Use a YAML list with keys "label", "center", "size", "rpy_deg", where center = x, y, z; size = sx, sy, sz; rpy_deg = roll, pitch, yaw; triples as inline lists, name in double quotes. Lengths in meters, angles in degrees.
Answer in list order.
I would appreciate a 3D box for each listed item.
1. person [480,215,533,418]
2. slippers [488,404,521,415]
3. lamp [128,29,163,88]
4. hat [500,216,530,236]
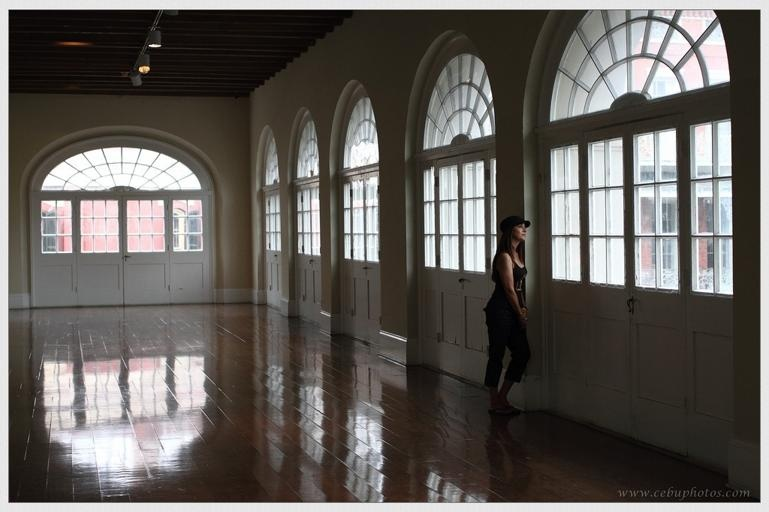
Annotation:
- label: "person"
  center: [1.118, 0.533, 5.023]
  size: [0.403, 1.795, 0.438]
  rpy_deg: [-1, -1, 13]
- label: "slippers"
  center: [1.115, 1.385, 5.074]
  size: [0.251, 0.087, 0.102]
  rpy_deg: [-1, 4, 7]
- label: "lamp"
  center: [-4.100, -3.407, 9.531]
  size: [0.216, 0.487, 1.433]
  rpy_deg: [9, -22, -13]
- label: "hat"
  center: [1.147, -0.288, 4.891]
  size: [0.214, 0.127, 0.162]
  rpy_deg: [-25, 2, 1]
